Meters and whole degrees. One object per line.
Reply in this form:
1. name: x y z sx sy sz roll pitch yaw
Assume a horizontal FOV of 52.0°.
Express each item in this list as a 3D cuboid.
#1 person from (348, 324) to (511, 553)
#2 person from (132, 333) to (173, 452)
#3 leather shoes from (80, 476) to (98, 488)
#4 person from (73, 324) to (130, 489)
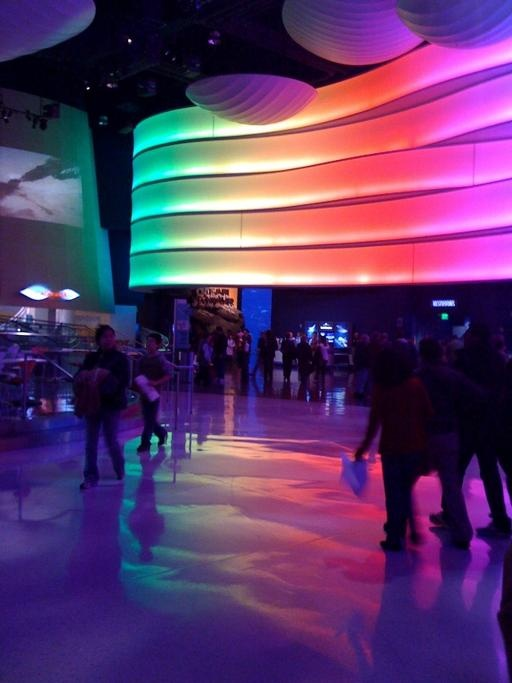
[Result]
1. person: 1.406 0.725 3.711 1.241 1.485 0.536 4 -4 -44
2. person: -1.523 0.746 7.743 0.505 1.629 1.837 2 -3 -12
3. leather shoes: -1.645 1.407 5.233 0.103 0.087 0.280 1 -3 11
4. person: -1.568 0.644 5.325 0.532 1.637 0.584 2 -2 -20
